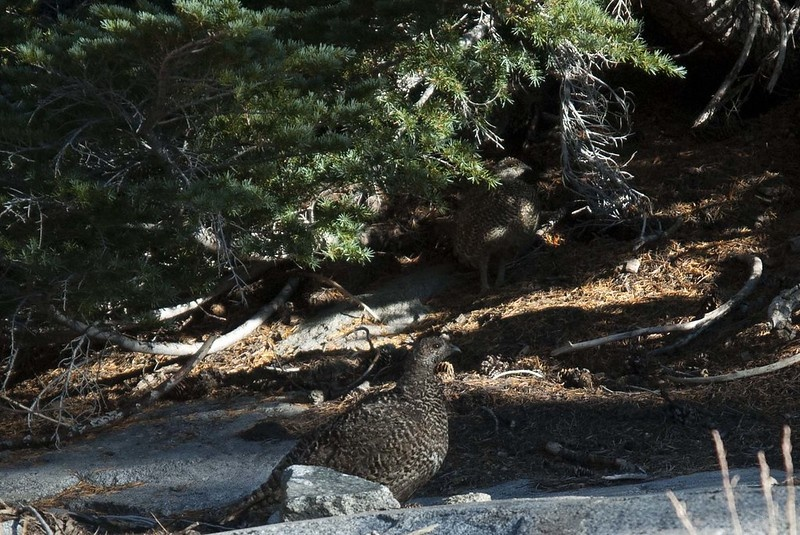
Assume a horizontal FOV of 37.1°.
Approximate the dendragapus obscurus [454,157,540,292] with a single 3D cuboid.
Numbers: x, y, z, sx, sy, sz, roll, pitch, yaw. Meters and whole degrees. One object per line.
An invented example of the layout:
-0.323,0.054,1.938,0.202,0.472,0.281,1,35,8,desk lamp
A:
1.387,-0.494,16.417,1.258,1.397,0.960,-23,25,-5,dendragapus obscurus
